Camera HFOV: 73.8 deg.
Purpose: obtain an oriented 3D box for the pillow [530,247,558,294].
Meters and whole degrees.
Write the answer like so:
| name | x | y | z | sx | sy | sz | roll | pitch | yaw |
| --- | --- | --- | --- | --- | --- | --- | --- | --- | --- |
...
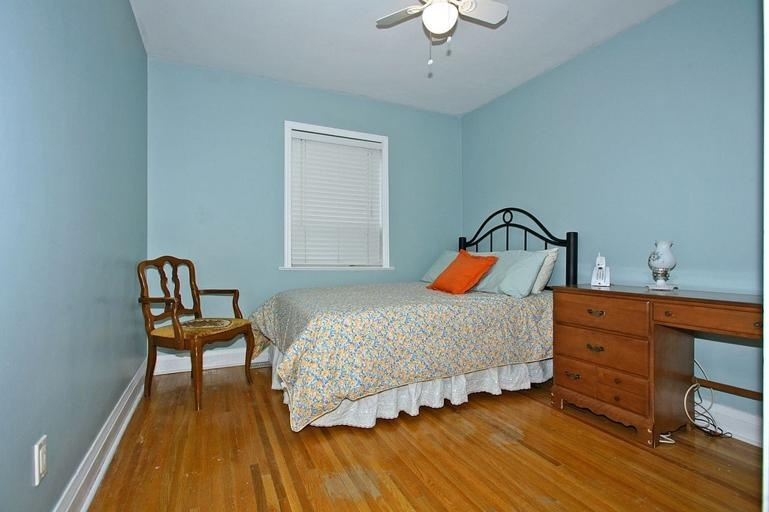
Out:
| name | x | y | z | sx | sy | sz | roll | pitch | yaw |
| --- | --- | --- | --- | --- | --- | --- | --- | --- | --- |
| pillow | 1.370 | 0.120 | 4.358 | 0.095 | 0.345 | 0.333 | 13 | 10 | -6 |

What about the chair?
| name | x | y | z | sx | sy | sz | roll | pitch | yaw |
| --- | --- | --- | --- | --- | --- | --- | --- | --- | --- |
| chair | -1.547 | 0.570 | 4.235 | 0.810 | 1.166 | 0.820 | 0 | 3 | 4 |

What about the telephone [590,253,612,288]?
| name | x | y | z | sx | sy | sz | roll | pitch | yaw |
| --- | --- | --- | --- | --- | --- | --- | --- | --- | --- |
| telephone | 1.684 | 0.122 | 3.978 | 0.134 | 0.222 | 0.261 | 0 | 5 | 20 |

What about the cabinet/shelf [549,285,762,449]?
| name | x | y | z | sx | sy | sz | roll | pitch | yaw |
| --- | --- | --- | --- | --- | --- | --- | --- | --- | --- |
| cabinet/shelf | 1.937 | 0.780 | 3.531 | 0.420 | 0.810 | 1.028 | 3 | -3 | -33 |

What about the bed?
| name | x | y | z | sx | sy | sz | roll | pitch | yaw |
| --- | --- | --- | --- | --- | --- | --- | --- | --- | --- |
| bed | 0.145 | 0.583 | 4.408 | 2.126 | 1.387 | 1.666 | 1 | -3 | -20 |
